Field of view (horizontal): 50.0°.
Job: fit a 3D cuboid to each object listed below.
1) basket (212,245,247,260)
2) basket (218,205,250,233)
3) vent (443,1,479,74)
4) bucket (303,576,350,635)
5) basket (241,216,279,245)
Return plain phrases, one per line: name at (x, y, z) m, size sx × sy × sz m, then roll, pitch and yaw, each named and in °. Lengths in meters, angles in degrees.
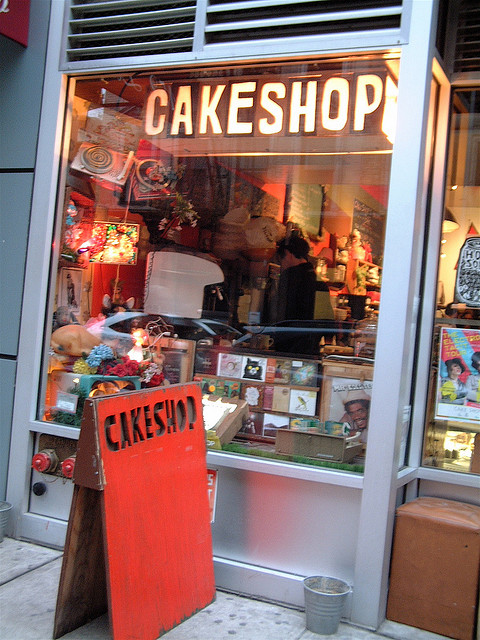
basket at (-0.068, -0.425, 3.267) m, size 0.218 × 0.075 × 0.031 m, roll 5°, pitch 2°, yaw 19°
basket at (-0.029, -0.629, 3.294) m, size 0.176 × 0.161 × 0.058 m, roll -10°, pitch -4°, yaw 9°
vent at (1.157, -1.452, 2.644) m, size 0.182 × 0.377 × 0.058 m, roll 5°, pitch 2°, yaw 11°
bucket at (0.335, 1.154, 2.111) m, size 0.211 × 0.154 × 0.192 m, roll 4°, pitch -6°, yaw -12°
basket at (0.132, -0.566, 3.259) m, size 0.225 × 0.154 × 0.061 m, roll 4°, pitch 2°, yaw 0°
